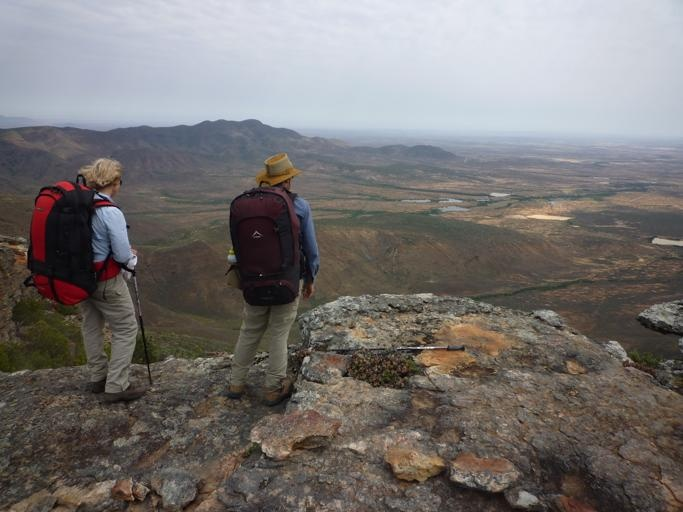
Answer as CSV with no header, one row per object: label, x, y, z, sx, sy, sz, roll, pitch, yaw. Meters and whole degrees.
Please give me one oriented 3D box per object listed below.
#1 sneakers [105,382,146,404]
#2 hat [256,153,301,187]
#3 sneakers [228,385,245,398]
sneakers,-2.777,1.805,4.981,0.426,0.265,0.168,-5,11,-42
hat,-0.801,-1.203,5.076,0.543,0.260,0.596,23,41,32
sneakers,-1.407,1.886,5.173,0.132,0.099,0.258,4,3,-3
